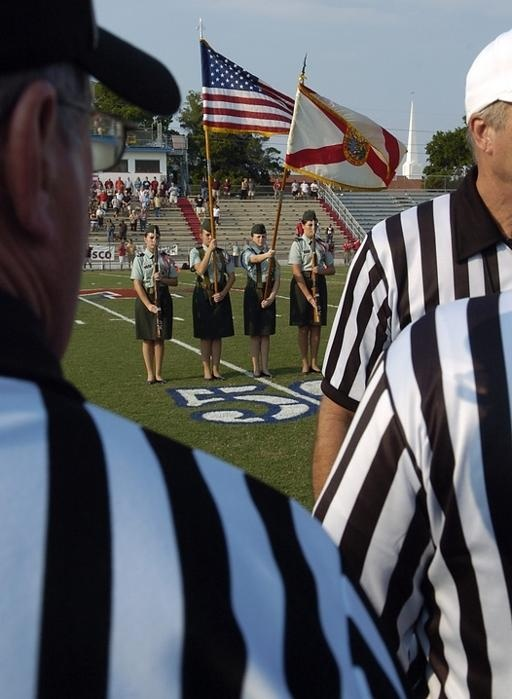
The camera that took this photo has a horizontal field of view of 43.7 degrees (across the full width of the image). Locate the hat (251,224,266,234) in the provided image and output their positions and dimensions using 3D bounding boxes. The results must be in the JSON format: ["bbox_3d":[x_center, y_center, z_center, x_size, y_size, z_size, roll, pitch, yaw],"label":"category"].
[{"bbox_3d":[0.035,-1.598,8.312,0.146,0.151,0.232,1,9,-12],"label":"hat"}]

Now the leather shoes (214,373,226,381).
[{"bbox_3d":[-0.479,0.327,8.234,0.058,0.079,0.171,-2,5,-37],"label":"leather shoes"}]

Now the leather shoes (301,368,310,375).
[{"bbox_3d":[0.652,0.252,8.383,0.090,0.083,0.131,0,15,10],"label":"leather shoes"}]

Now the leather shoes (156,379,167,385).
[{"bbox_3d":[-1.200,0.379,7.996,0.048,0.042,0.131,-7,4,-43],"label":"leather shoes"}]

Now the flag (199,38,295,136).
[{"bbox_3d":[-0.062,-3.301,7.786,1.153,1.470,0.071,-2,-19,-7],"label":"flag"}]

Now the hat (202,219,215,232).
[{"bbox_3d":[-0.601,-1.586,7.932,0.267,0.156,0.419,0,12,-6],"label":"hat"}]
